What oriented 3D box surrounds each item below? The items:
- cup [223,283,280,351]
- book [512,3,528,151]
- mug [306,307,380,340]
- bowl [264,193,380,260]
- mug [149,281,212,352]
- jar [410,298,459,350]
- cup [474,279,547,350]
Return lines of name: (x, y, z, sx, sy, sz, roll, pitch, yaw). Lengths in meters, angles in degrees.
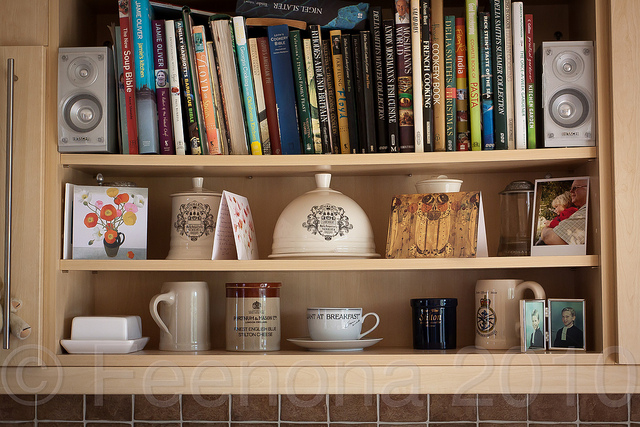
cup: (-0.189, 0.284, 1.613, 0.182, 0.190, 0.177, 0, -6, 0)
book: (0.542, -0.363, 1.550, 0.044, 0.399, 0.023, -1, -2, 2)
mug: (0.075, 0.307, 1.708, 0.221, 0.116, 0.166, -2, -7, 15)
bowl: (0.014, 0.070, 1.582, 0.226, 0.133, 0.219, 0, -8, 0)
mug: (-0.391, 0.292, 1.626, 0.142, 0.198, 0.222, -3, -4, 40)
jar: (0.321, 0.305, 1.618, 0.141, 0.142, 0.136, 1, -5, 0)
cup: (0.545, 0.290, 1.631, 0.216, 0.201, 0.135, -4, -5, 40)
